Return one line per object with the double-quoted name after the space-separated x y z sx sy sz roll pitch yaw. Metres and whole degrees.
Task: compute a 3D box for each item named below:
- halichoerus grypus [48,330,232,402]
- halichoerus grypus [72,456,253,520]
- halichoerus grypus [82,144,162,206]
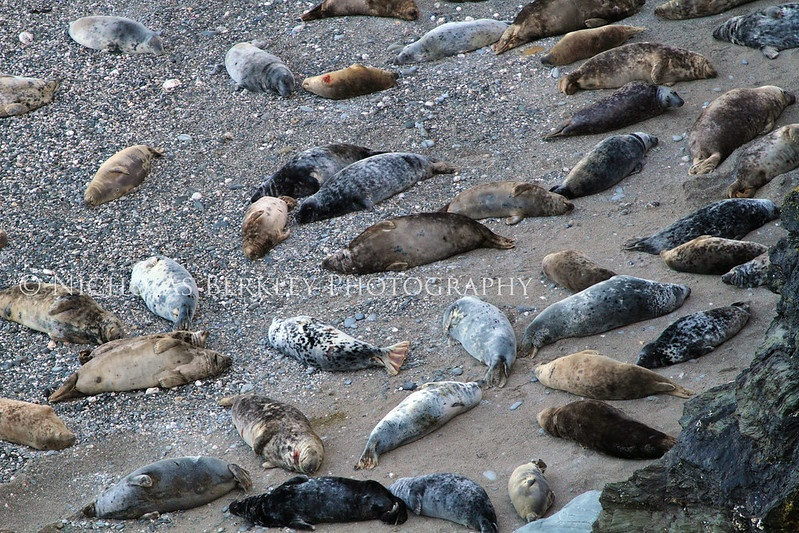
-2.812 1.106 14.667 1.572 0.405 0.785 -6 17 -6 "halichoerus grypus"
-2.306 2.212 13.637 1.854 0.490 0.598 -10 36 6 "halichoerus grypus"
-3.539 -1.118 16.998 0.990 0.312 0.468 -33 77 -31 "halichoerus grypus"
